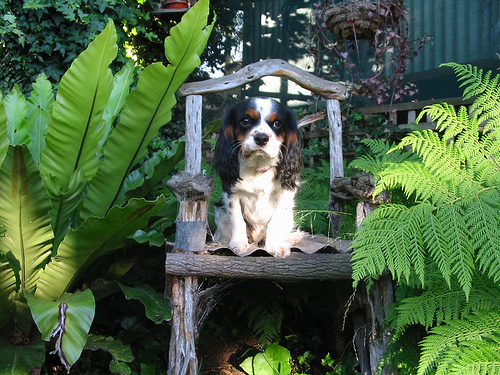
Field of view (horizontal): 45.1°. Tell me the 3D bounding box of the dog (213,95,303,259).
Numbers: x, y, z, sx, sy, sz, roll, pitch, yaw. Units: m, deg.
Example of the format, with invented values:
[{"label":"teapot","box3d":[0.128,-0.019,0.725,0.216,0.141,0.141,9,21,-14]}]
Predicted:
[{"label":"dog","box3d":[0.060,-0.084,4.884,0.720,1.278,0.469,0,-1,3]}]
